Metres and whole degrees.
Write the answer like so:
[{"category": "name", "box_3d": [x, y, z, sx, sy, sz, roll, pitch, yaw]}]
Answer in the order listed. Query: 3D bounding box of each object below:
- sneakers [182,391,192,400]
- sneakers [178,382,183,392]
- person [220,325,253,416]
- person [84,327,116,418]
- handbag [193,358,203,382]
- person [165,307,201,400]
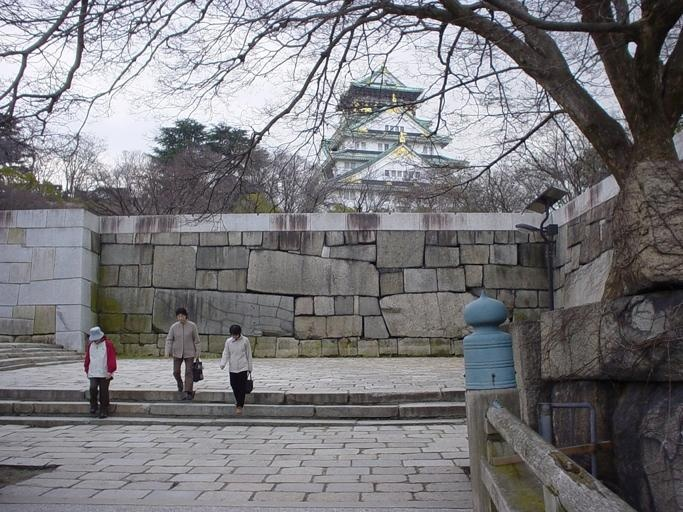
[{"category": "sneakers", "box_3d": [-2.501, 2.258, 13.136, 0.176, 0.132, 0.171, -2, 0, -40]}, {"category": "sneakers", "box_3d": [-2.634, 2.129, 13.190, 0.053, 0.071, 0.178, 2, -38, -4]}, {"category": "person", "box_3d": [-1.657, 1.770, 12.710, 0.463, 1.368, 0.626, 0, -4, -9]}, {"category": "person", "box_3d": [-3.799, 1.813, 12.736, 0.443, 1.390, 0.563, 0, -4, -17]}, {"category": "handbag", "box_3d": [-2.369, 1.861, 13.248, 0.142, 0.371, 0.248, -1, -4, -1]}, {"category": "person", "box_3d": [-2.618, 1.597, 13.274, 0.503, 1.468, 0.504, -1, -4, -1]}]
